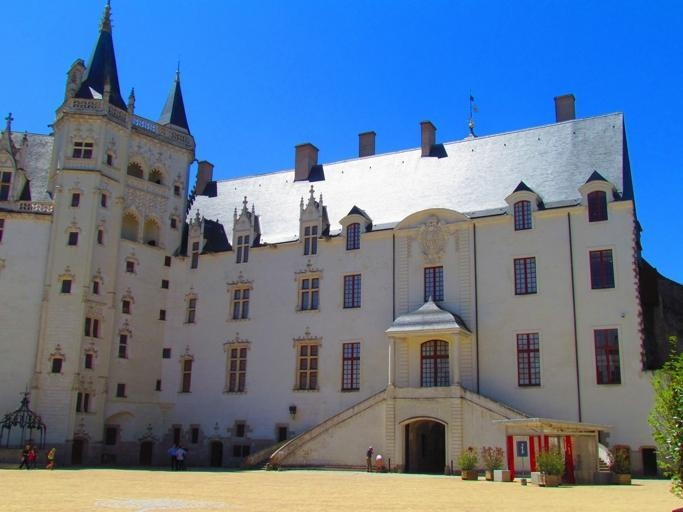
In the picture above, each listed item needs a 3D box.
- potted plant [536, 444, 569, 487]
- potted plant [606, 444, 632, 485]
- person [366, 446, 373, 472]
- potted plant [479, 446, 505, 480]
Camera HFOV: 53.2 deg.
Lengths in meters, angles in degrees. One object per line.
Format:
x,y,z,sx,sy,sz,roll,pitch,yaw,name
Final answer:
9.275,9.575,31.097,1.458,1.827,1.663,2,-12,16,potted plant
13.667,10.153,32.930,1.026,1.801,0.884,13,-23,-27,potted plant
1.671,11.900,39.949,0.447,1.431,1.055,-1,-17,1,person
8.052,10.702,35.466,1.511,2.013,1.556,0,-24,7,potted plant
